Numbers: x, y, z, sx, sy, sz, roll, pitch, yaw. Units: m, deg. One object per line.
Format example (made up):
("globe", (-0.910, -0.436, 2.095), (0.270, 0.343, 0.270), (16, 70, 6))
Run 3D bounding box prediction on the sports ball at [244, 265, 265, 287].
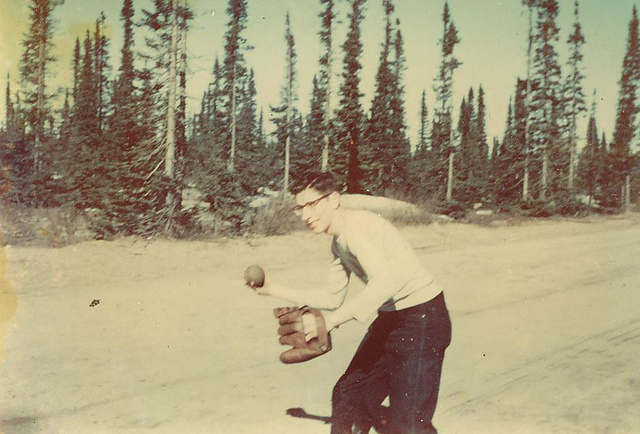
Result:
("sports ball", (-1.296, 1.139, 12.670), (0.305, 0.344, 0.423), (0, -30, -7))
